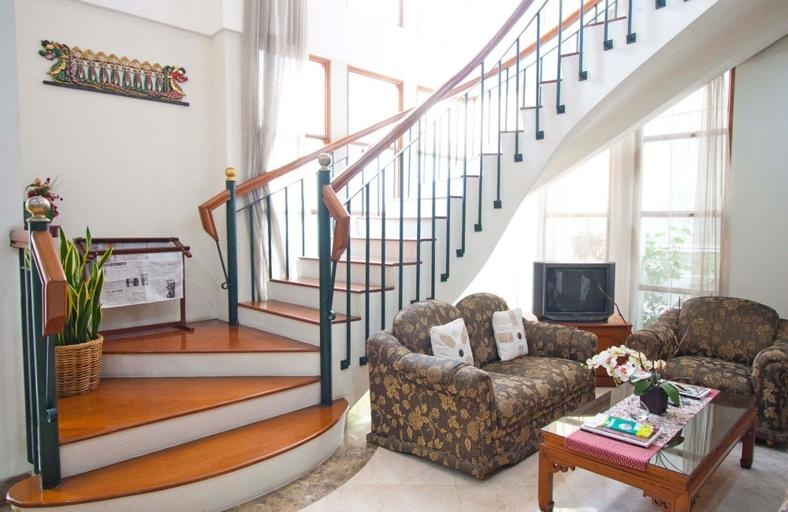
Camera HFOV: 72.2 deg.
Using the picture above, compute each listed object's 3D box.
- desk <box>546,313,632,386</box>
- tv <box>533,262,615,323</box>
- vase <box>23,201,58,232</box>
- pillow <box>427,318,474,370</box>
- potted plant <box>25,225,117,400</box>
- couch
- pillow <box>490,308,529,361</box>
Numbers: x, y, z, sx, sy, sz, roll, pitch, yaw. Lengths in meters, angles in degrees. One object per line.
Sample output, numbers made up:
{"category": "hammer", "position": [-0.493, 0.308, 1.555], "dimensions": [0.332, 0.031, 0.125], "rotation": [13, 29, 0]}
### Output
{"category": "desk", "position": [2.130, 1.056, 5.869], "dimensions": [0.666, 0.602, 0.497], "rotation": [-2, -2, -23]}
{"category": "tv", "position": [1.991, 0.453, 6.002], "dimensions": [1.013, 0.759, 0.588], "rotation": [0, 1, 7]}
{"category": "vase", "position": [-2.366, -0.223, 3.602], "dimensions": [0.173, 0.279, 0.182], "rotation": [2, 0, 32]}
{"category": "pillow", "position": [0.461, 0.744, 4.535], "dimensions": [0.361, 0.386, 0.139], "rotation": [-9, -12, -43]}
{"category": "potted plant", "position": [-2.562, 0.446, 4.454], "dimensions": [0.380, 1.343, 0.741], "rotation": [1, 1, -32]}
{"category": "couch", "position": [0.912, 1.042, 4.940], "dimensions": [2.100, 1.132, 1.237], "rotation": [-4, 5, -44]}
{"category": "pillow", "position": [1.089, 0.741, 5.057], "dimensions": [0.429, 0.412, 0.170], "rotation": [-17, -9, -47]}
